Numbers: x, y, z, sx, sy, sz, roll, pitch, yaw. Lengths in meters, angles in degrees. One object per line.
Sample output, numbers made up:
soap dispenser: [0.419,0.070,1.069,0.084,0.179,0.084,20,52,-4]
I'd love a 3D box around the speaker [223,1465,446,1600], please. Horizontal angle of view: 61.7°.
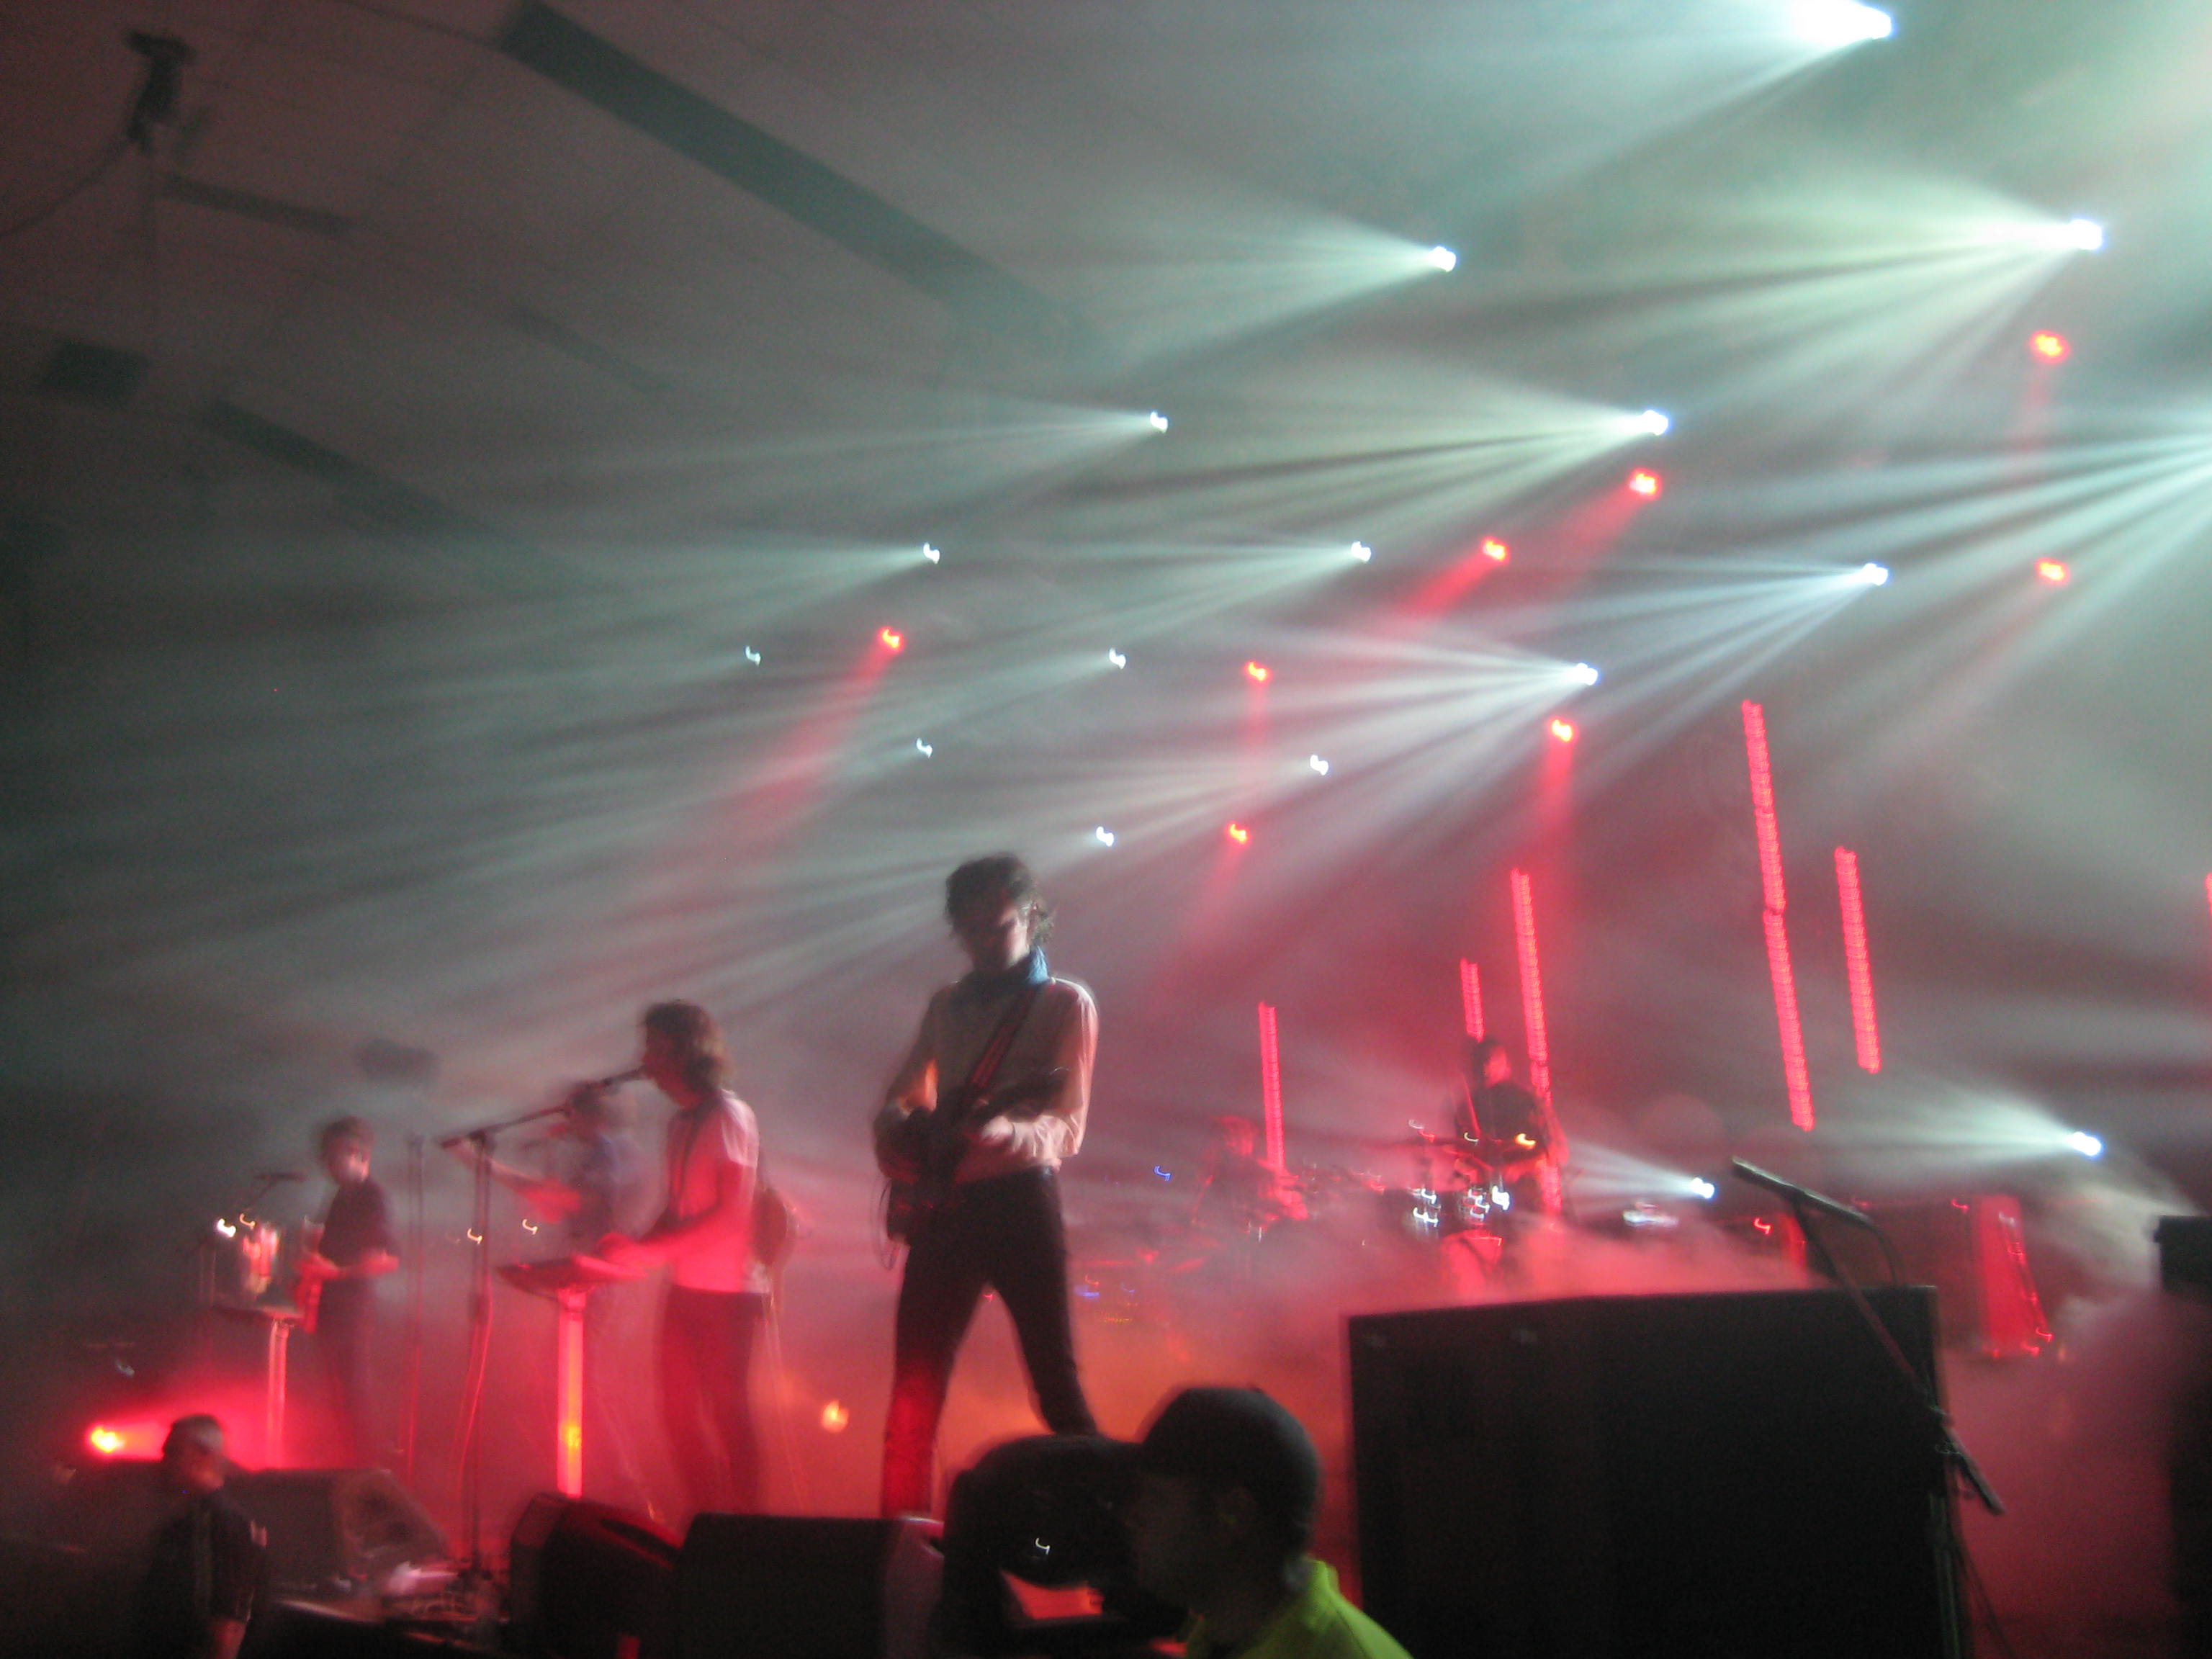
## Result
speaker: [-3.478,3.140,8.401,0.700,0.426,0.511,-10,-8,34]

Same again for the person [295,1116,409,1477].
person: [-4.134,2.525,10.149,0.590,1.851,1.151,9,-26,-18]

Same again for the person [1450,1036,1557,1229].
person: [2.578,1.891,11.771,0.322,0.870,0.672,-1,-27,-25]

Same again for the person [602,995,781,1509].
person: [-1.643,1.635,7.453,0.667,2.049,0.437,4,-25,-9]

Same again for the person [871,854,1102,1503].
person: [-0.447,1.227,6.729,0.832,2.378,0.613,-1,-25,3]

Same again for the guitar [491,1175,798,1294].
guitar: [-1.896,1.763,8.183,0.933,0.452,0.653,4,-57,-5]

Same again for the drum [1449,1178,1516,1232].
drum: [2.311,2.277,11.259,0.410,0.383,0.425,-5,-24,11]
